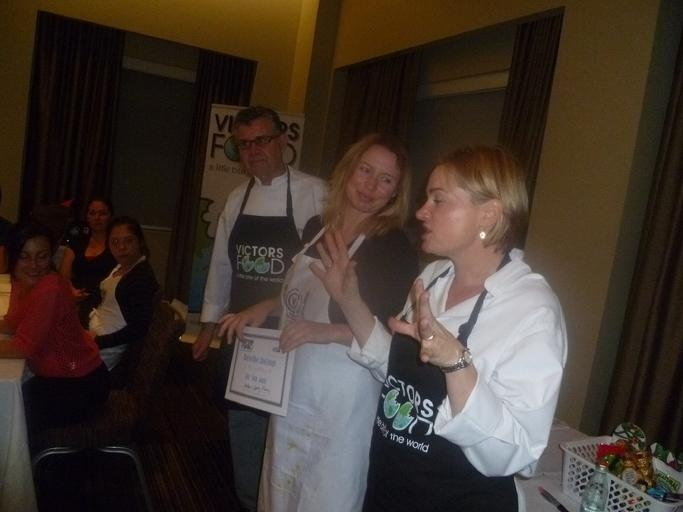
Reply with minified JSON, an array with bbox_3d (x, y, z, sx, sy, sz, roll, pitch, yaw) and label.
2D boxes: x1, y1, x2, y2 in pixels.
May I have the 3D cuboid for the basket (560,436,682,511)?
[{"bbox_3d":[0.900,0.716,1.695,0.211,0.122,0.307,0,-2,-13],"label":"basket"}]

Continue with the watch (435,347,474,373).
[{"bbox_3d":[0.314,0.286,1.306,0.061,0.028,0.062,-28,-16,30],"label":"watch"}]

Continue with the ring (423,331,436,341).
[{"bbox_3d":[0.233,0.208,1.286,0.025,0.011,0.022,-8,-16,-44],"label":"ring"}]
